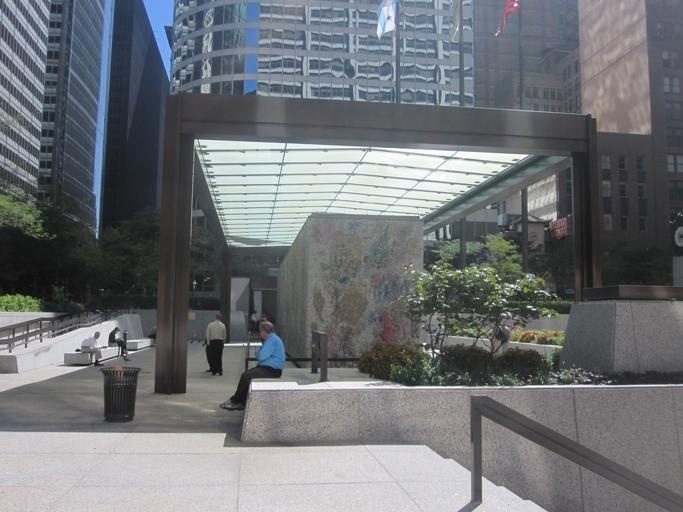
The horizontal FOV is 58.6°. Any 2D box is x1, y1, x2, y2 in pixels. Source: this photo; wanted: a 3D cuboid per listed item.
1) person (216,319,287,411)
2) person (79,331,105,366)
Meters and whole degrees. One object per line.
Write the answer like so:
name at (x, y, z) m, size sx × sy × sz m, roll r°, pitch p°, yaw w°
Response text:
person at (-1.770, 2.291, 12.739) m, size 0.871 × 1.869 × 1.049 m, roll -1°, pitch -7°, yaw 18°
person at (-9.371, 3.452, 22.800) m, size 0.777 × 1.181 × 2.167 m, roll 4°, pitch -7°, yaw -22°
